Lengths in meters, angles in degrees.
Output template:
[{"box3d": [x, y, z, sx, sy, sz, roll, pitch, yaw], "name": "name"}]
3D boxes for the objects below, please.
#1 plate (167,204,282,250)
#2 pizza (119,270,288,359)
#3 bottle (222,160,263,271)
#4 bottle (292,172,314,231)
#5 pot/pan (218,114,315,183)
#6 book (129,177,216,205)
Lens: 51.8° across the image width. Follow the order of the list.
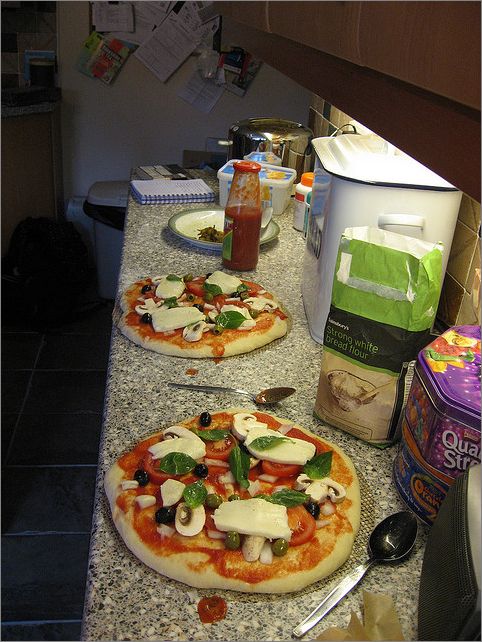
[{"box3d": [-0.149, -0.311, 1.602, 0.224, 0.037, 0.228, 21, 39, 23], "name": "plate"}, {"box3d": [-0.094, -0.021, 1.099, 0.409, 0.094, 0.320, 9, 29, 3], "name": "pizza"}, {"box3d": [0.004, -0.261, 1.277, 0.092, 0.274, 0.062, 6, 30, -3], "name": "bottle"}, {"box3d": [0.201, -0.395, 1.652, 0.049, 0.186, 0.190, 9, 30, 4], "name": "bottle"}, {"box3d": [0.104, -0.682, 1.929, 0.261, 0.215, 0.254, -9, 31, -23], "name": "pot/pan"}, {"box3d": [-0.282, -0.529, 1.991, 0.315, 0.047, 0.287, -2, 31, -17], "name": "book"}]
